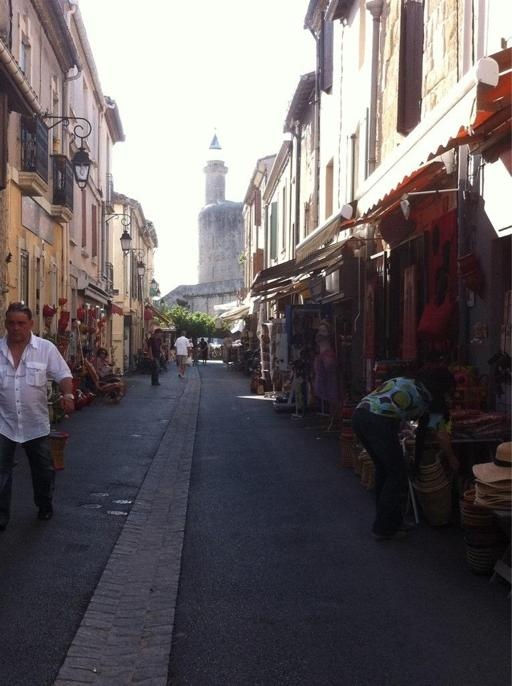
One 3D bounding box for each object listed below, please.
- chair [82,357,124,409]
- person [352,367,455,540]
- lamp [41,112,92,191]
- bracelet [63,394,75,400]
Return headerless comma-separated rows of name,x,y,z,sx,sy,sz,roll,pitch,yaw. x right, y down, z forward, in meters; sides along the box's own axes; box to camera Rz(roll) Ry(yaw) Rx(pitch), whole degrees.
chair,-3.988,1.020,17.306,0.988,1.418,0.907,3,4,-3
person,1.095,0.797,4.973,0.726,1.221,0.476,0,-1,11
lamp,-4.478,-4.665,16.139,0.981,2.264,0.469,-2,-20,-17
bracelet,-1.425,0.408,5.065,0.042,0.044,0.067,0,-2,-5
